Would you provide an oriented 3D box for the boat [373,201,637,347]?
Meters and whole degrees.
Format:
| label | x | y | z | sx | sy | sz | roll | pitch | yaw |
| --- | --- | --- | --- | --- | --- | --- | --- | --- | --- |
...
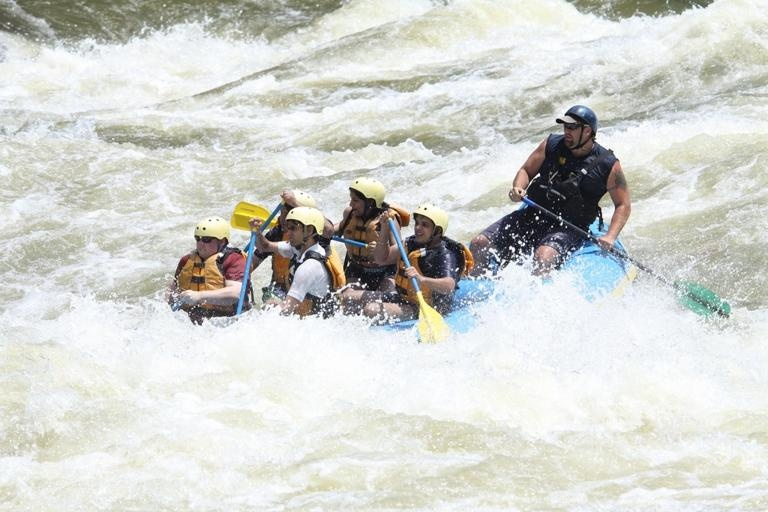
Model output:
| label | x | y | z | sx | sy | sz | roll | pitch | yaw |
| --- | --- | --- | --- | --- | --- | --- | --- | --- | --- |
| boat | 1.658 | 0.226 | 12.733 | 2.861 | 0.418 | 1.355 | -13 | 27 | -12 |

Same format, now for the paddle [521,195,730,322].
| label | x | y | z | sx | sy | sz | roll | pitch | yaw |
| --- | --- | --- | --- | --- | --- | --- | --- | --- | --- |
| paddle | 3.173 | 0.090 | 13.526 | 3.152 | 0.340 | 0.214 | 29 | 23 | 1 |

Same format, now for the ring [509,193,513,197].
| label | x | y | z | sx | sy | sz | roll | pitch | yaw |
| --- | --- | --- | --- | --- | --- | --- | --- | --- | --- |
| ring | 1.640 | -0.797 | 13.205 | 0.057 | 0.042 | 0.012 | 1 | 4 | -4 |

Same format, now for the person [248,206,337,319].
| label | x | y | z | sx | sy | sz | roll | pitch | yaw |
| --- | --- | --- | --- | --- | --- | --- | --- | --- | --- |
| person | -0.931 | 0.042 | 12.467 | 0.824 | 1.077 | 1.278 | -6 | 39 | -11 |

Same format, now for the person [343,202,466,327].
| label | x | y | z | sx | sy | sz | roll | pitch | yaw |
| --- | --- | --- | --- | --- | --- | --- | --- | --- | --- |
| person | 0.312 | 0.158 | 12.645 | 1.657 | 1.473 | 1.098 | 5 | 17 | -29 |

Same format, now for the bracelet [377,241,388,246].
| label | x | y | z | sx | sy | sz | roll | pitch | yaw |
| --- | --- | --- | --- | --- | --- | --- | --- | --- | --- |
| bracelet | -0.002 | -0.165 | 12.857 | 0.086 | 0.054 | 0.084 | 7 | 10 | 29 |
